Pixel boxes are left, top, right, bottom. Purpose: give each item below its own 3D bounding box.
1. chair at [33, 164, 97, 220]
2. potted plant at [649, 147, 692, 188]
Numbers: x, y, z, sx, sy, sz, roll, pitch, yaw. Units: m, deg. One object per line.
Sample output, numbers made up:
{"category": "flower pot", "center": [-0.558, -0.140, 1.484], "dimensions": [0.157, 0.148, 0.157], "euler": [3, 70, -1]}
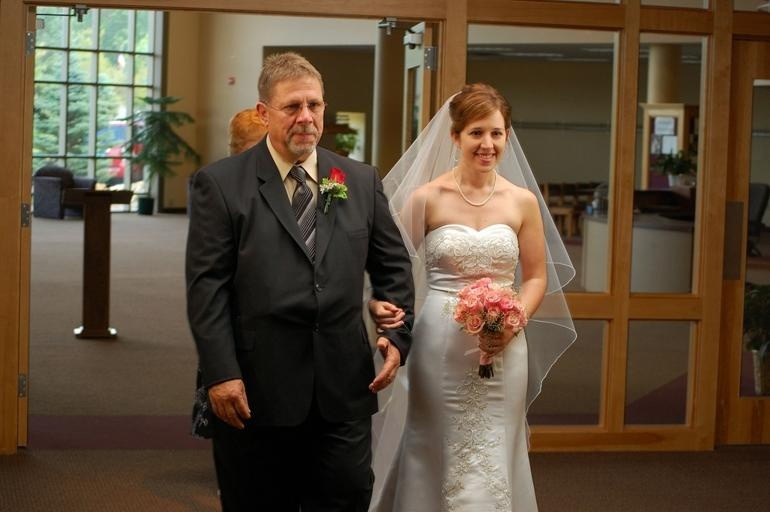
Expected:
{"category": "chair", "center": [-2.400, -0.471, 5.401], "dimensions": [0.289, 0.391, 0.333], "euler": [7, 5, 19]}
{"category": "potted plant", "center": [2.238, -0.668, 5.635], "dimensions": [0.304, 0.304, 0.299], "euler": [0, -2, -40]}
